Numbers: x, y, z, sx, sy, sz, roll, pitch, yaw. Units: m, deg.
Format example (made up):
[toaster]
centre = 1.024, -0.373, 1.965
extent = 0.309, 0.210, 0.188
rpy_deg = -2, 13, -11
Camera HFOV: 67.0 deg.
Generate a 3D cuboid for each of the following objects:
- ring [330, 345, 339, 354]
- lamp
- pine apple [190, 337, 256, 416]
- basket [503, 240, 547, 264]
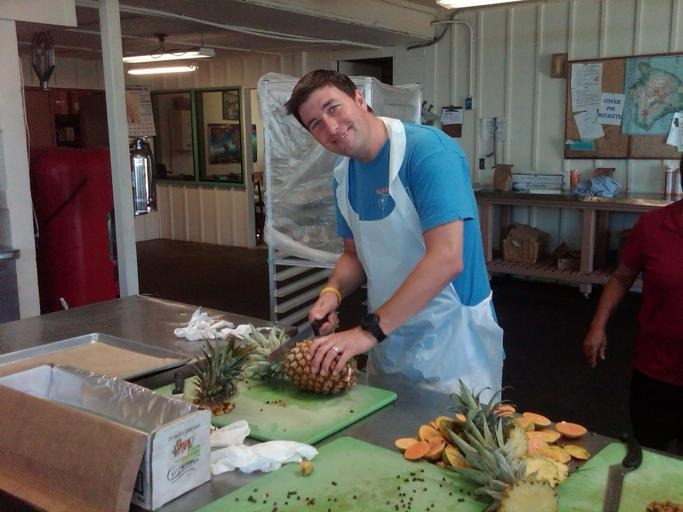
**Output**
[ring]
centre = -0.021, 0.309, 1.713
extent = 0.006, 0.021, 0.022
rpy_deg = -38, 7, -14
[lamp]
centre = -2.825, -3.118, 8.325
extent = 1.122, 0.437, 3.336
rpy_deg = -6, 14, -20
[pine apple]
centre = -0.405, 0.387, 1.769
extent = 0.212, 0.197, 0.268
rpy_deg = -4, 13, -11
[basket]
centre = 2.370, -0.057, 6.766
extent = 0.367, 0.230, 0.372
rpy_deg = 1, 3, 22
